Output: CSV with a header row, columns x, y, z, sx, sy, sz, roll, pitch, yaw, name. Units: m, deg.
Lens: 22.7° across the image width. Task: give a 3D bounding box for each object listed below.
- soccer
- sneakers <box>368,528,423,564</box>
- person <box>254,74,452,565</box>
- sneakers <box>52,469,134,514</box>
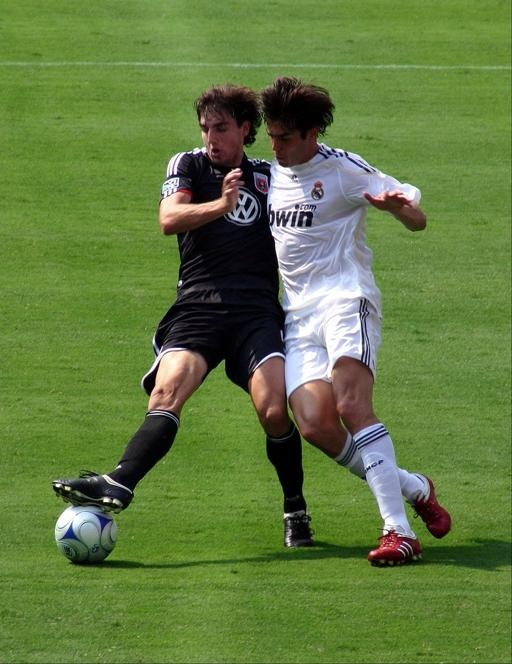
x,y,z,sx,sy,sz,roll,pitch,yaw,name
-0.594,0.707,4.583,0.215,0.206,0.206,-12,1,22,soccer
0.484,0.754,4.455,0.088,0.099,0.211,-17,-15,42,sneakers
0.289,-0.107,4.755,0.496,1.638,1.104,-1,13,-6,person
-0.575,0.580,4.536,0.249,0.152,0.220,6,14,22,sneakers
